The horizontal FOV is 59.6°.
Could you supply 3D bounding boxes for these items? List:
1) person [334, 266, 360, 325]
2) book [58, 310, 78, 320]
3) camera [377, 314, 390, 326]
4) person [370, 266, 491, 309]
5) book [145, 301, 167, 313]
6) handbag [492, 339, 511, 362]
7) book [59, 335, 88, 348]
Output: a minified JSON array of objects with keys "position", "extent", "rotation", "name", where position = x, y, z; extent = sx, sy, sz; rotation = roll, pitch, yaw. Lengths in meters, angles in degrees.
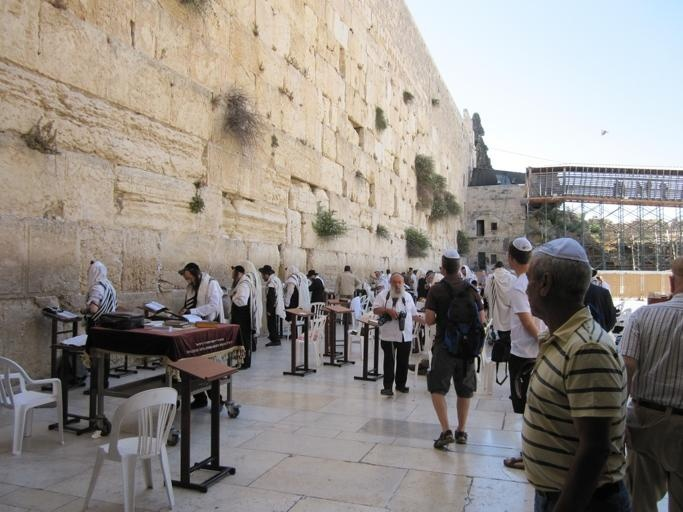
[{"position":[0.181,0.702,16.523],"extent":[0.645,0.863,1.475],"rotation":[1,5,1],"name":"person"},{"position":[-3.687,0.813,8.072],"extent":[0.258,0.118,0.318],"rotation":[-1,5,-24],"name":"book"},{"position":[0.596,0.903,8.468],"extent":[0.094,0.084,0.227],"rotation":[11,-34,-20],"name":"camera"},{"position":[1.030,0.409,7.071],"extent":[1.347,0.731,1.085],"rotation":[0,-4,4],"name":"person"},{"position":[-2.673,0.732,8.566],"extent":[0.251,0.064,0.236],"rotation":[19,16,25],"name":"book"},{"position":[1.796,1.066,6.817],"extent":[0.176,0.262,0.230],"rotation":[12,14,34],"name":"handbag"},{"position":[-3.212,1.003,7.178],"extent":[0.270,0.124,0.663],"rotation":[-2,5,-26],"name":"book"}]
